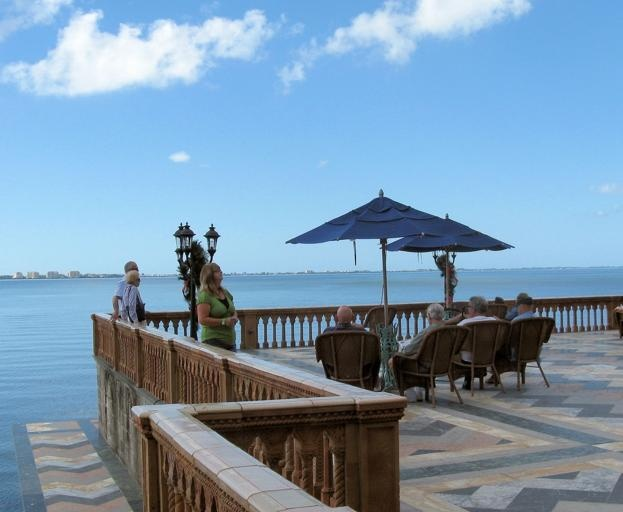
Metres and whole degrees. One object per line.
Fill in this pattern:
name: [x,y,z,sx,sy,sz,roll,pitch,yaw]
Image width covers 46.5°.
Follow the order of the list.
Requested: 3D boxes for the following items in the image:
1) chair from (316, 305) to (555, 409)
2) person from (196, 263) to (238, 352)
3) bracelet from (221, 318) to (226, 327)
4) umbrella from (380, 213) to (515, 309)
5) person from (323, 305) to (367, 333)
chair: [2.302,1.413,11.073,3.749,1.430,0.885,0,-2,-33]
person: [-1.259,0.662,9.654,0.513,1.193,0.804,-1,-2,-8]
bracelet: [-1.157,0.865,9.548,0.057,0.092,0.124,-1,-2,-8]
umbrella: [3.006,0.198,15.974,2.020,2.106,2.279,0,-7,15]
person: [0.655,1.164,13.773,0.738,0.458,0.357,-4,15,-6]
